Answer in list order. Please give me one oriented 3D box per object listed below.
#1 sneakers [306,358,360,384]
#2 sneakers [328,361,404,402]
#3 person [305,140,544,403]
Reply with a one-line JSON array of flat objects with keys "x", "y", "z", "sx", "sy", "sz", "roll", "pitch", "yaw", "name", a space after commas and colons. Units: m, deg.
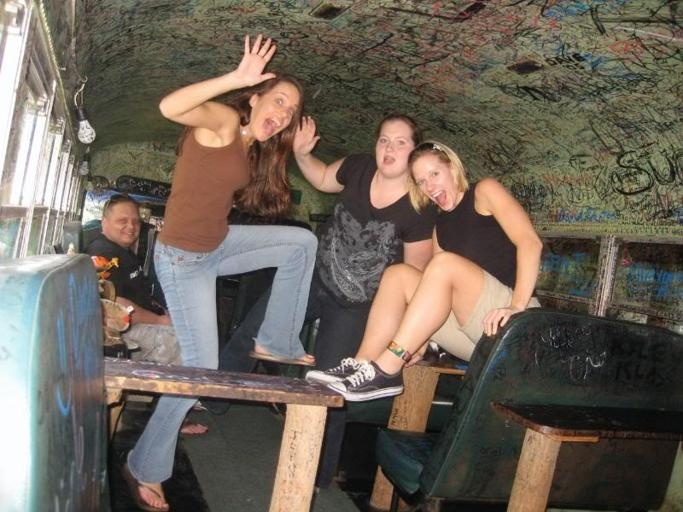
[{"x": -0.009, "y": 0.665, "z": 2.851, "sx": 0.345, "sy": 0.135, "sz": 0.125, "roll": 9, "pitch": 4, "yaw": -22, "name": "sneakers"}, {"x": 0.172, "y": 0.738, "z": 2.867, "sx": 0.513, "sy": 0.212, "sz": 0.186, "roll": 1, "pitch": 6, "yaw": -20, "name": "sneakers"}, {"x": 0.519, "y": 0.034, "z": 2.965, "sx": 1.479, "sy": 1.557, "sz": 0.943, "roll": -2, "pitch": -2, "yaw": -33, "name": "person"}]
